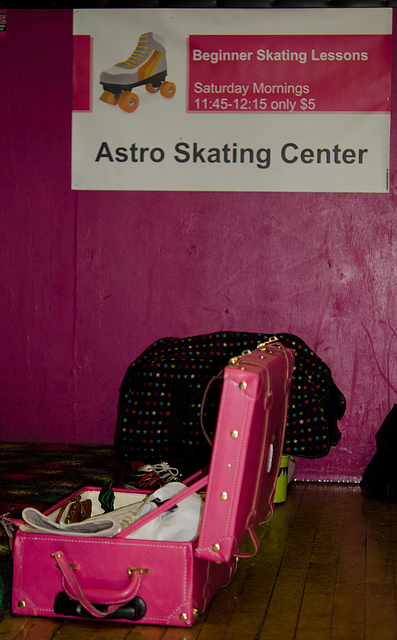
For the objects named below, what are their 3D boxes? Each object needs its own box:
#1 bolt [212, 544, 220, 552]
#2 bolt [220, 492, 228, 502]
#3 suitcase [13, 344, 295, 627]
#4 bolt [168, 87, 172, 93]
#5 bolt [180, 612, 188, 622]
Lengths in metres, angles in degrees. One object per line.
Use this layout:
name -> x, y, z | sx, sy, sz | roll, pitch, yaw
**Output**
bolt -> 0.038, 0.511, 1.202 | 0.016, 0.019, 0.005 | -1, -6, 33
bolt -> 0.055, 0.394, 1.193 | 0.018, 0.018, 0.004 | -7, -8, 21
suitcase -> -0.065, 0.405, 1.605 | 0.670, 0.764, 0.805 | 3, -4, 11
bolt -> -0.161, -1.301, 3.043 | 0.022, 0.028, 0.006 | 3, -5, -9
bolt -> -0.036, 0.723, 1.307 | 0.019, 0.026, 0.011 | 1, -5, 10
